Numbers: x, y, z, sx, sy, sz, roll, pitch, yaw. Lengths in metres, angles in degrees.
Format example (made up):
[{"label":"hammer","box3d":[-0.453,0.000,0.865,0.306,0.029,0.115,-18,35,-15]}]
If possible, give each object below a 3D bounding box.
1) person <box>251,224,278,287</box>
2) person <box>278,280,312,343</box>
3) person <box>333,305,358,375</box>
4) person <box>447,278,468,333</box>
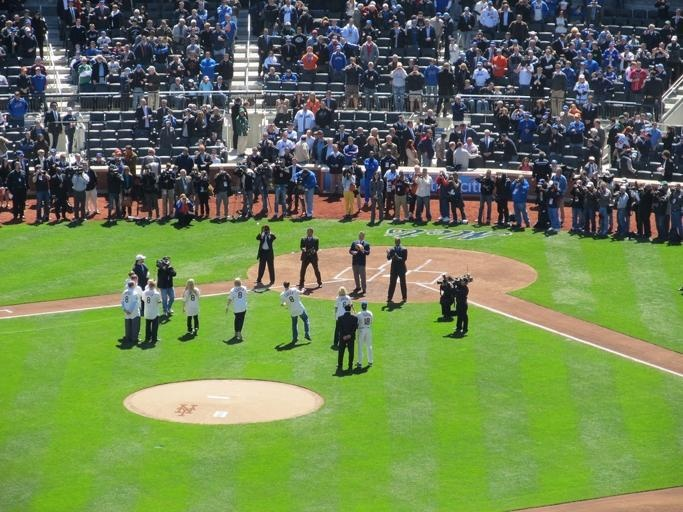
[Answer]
[{"label":"person","box3d":[-2.974,-0.051,54.658,0.754,2.425,1.213,-1,14,-2]},{"label":"person","box3d":[-1.554,1.904,49.497,0.943,2.317,1.571,2,14,9]},{"label":"person","box3d":[0.179,2.809,47.457,0.727,2.187,1.016,0,14,-1]},{"label":"person","box3d":[4.243,1.748,50.077,0.582,2.001,1.136,1,14,4]}]
